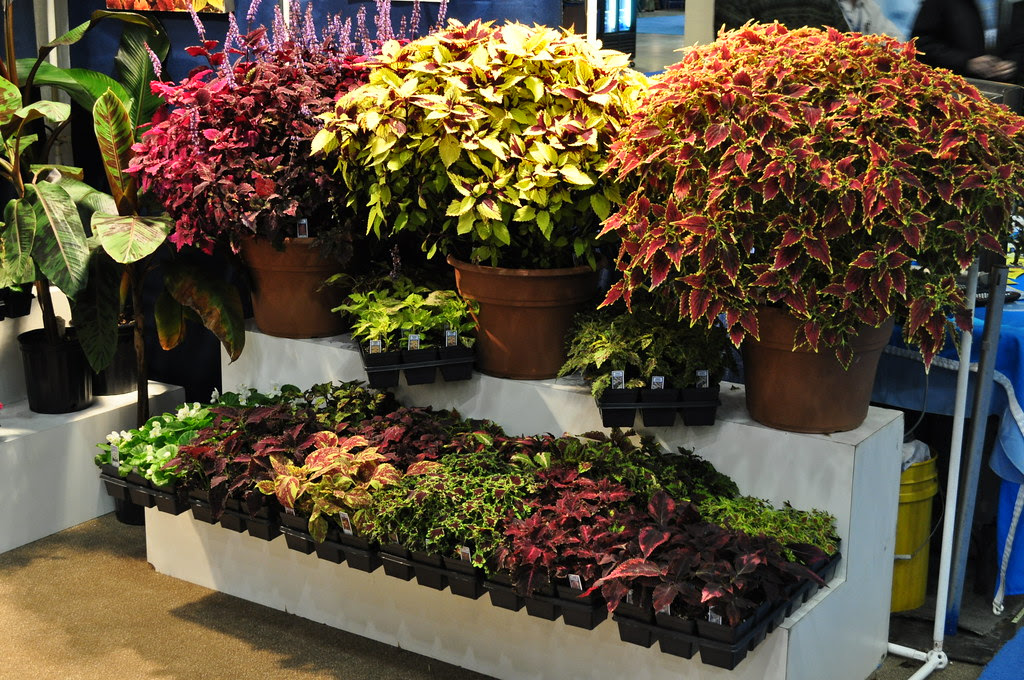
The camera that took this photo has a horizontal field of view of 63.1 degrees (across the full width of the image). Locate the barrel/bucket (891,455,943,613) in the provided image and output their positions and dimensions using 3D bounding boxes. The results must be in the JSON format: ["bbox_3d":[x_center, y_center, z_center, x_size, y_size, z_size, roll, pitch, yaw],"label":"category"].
[{"bbox_3d":[1.763,0.860,3.660,0.274,0.696,0.092,-8,16,-35],"label":"barrel/bucket"}]
